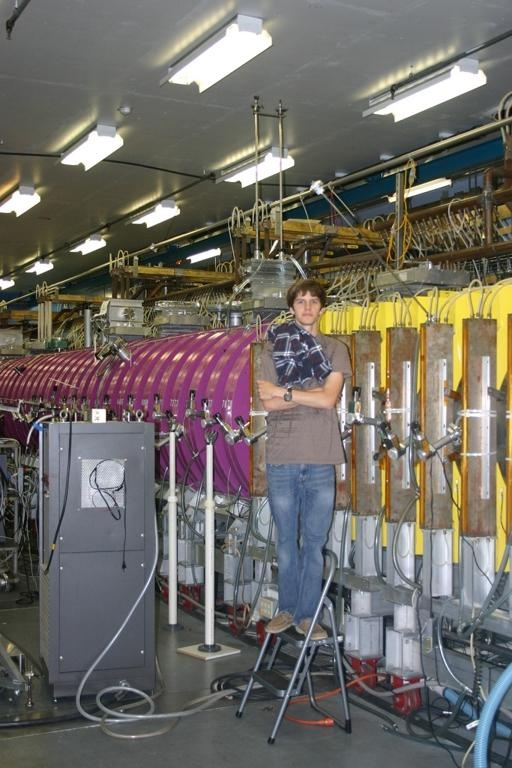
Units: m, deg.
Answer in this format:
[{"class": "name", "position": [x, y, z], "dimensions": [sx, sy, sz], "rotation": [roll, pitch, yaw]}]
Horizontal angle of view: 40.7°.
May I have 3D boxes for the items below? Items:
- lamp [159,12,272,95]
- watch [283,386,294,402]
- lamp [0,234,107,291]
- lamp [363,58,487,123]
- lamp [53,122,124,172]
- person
[{"class": "lamp", "position": [-0.229, -2.139, 4.419], "dimensions": [0.384, 0.274, 0.803], "rotation": [3, -6, -31]}, {"class": "watch", "position": [0.122, 0.047, 2.648], "dimensions": [0.033, 0.054, 0.047], "rotation": [3, 0, 3]}, {"class": "lamp", "position": [-3.490, -1.981, 11.909], "dimensions": [0.275, 0.147, 1.887], "rotation": [20, -25, -41]}, {"class": "lamp", "position": [1.134, -2.053, 4.728], "dimensions": [0.317, 0.323, 0.893], "rotation": [3, -6, -34]}, {"class": "lamp", "position": [-1.510, -2.206, 6.301], "dimensions": [0.348, 0.281, 0.645], "rotation": [4, -6, -37]}, {"class": "person", "position": [0.170, 0.281, 2.725], "dimensions": [0.367, 1.374, 0.307], "rotation": [-3, -5, 30]}]
